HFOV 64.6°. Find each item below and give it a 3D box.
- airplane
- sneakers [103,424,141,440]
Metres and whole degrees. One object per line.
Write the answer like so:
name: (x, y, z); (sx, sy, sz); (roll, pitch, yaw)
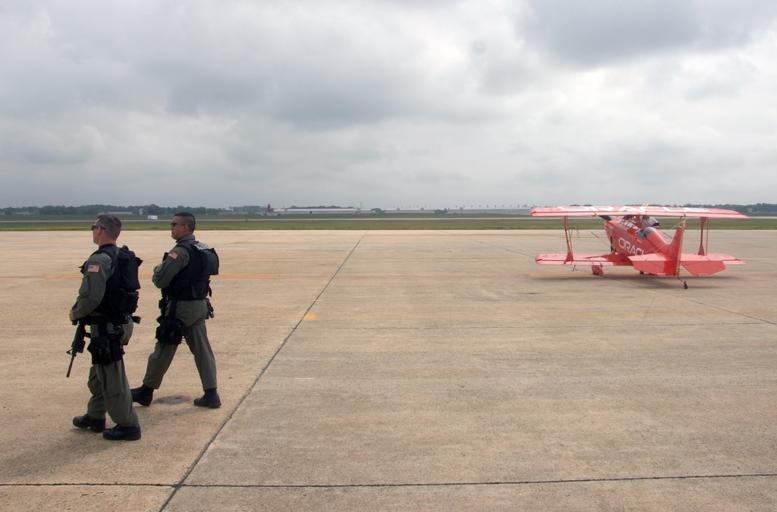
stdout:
airplane: (6.827, -0.675, 16.524); (4.738, 2.384, 4.012); (3, 10, 18)
sneakers: (-2.925, 1.989, 6.836); (0.469, 0.155, 0.158); (5, 2, -5)
